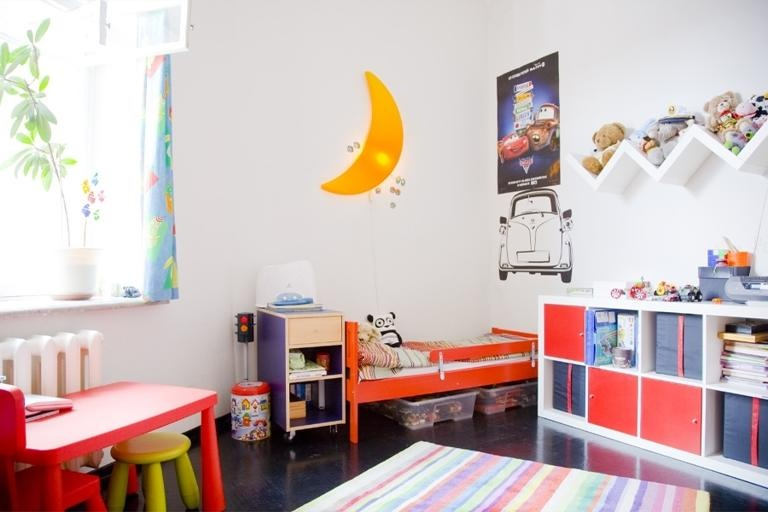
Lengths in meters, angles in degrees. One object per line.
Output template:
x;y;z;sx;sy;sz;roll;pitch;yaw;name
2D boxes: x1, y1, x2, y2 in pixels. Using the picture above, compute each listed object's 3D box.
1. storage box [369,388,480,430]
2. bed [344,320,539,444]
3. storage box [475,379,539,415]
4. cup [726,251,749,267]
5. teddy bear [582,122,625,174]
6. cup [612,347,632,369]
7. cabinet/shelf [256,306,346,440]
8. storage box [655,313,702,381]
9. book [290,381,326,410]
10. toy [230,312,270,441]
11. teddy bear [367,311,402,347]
0.347;1.167;3.916;0.828;0.219;0.379;-1;7;-8;storage box
0.451;0.852;3.998;1.432;0.646;0.781;-3;1;-27;bed
0.985;1.140;4.181;0.377;0.126;0.250;0;-4;-32;storage box
2.307;0.019;3.280;0.198;0.091;0.101;-3;7;-25;cup
1.760;-0.872;4.049;0.307;0.422;0.299;-4;-11;41;teddy bear
1.694;0.724;3.587;0.110;0.113;0.141;4;3;32;cup
-0.647;0.867;3.760;0.497;0.881;0.661;2;-5;-37;cabinet/shelf
2.130;0.611;3.480;0.424;0.403;0.322;3;-3;-44;storage box
-0.563;1.046;3.927;0.249;0.237;0.060;-1;-3;18;book
-1.002;0.857;3.730;0.290;0.826;0.542;-2;7;-18;toy
-0.015;0.616;4.251;0.231;0.243;0.135;-1;-21;-43;teddy bear
